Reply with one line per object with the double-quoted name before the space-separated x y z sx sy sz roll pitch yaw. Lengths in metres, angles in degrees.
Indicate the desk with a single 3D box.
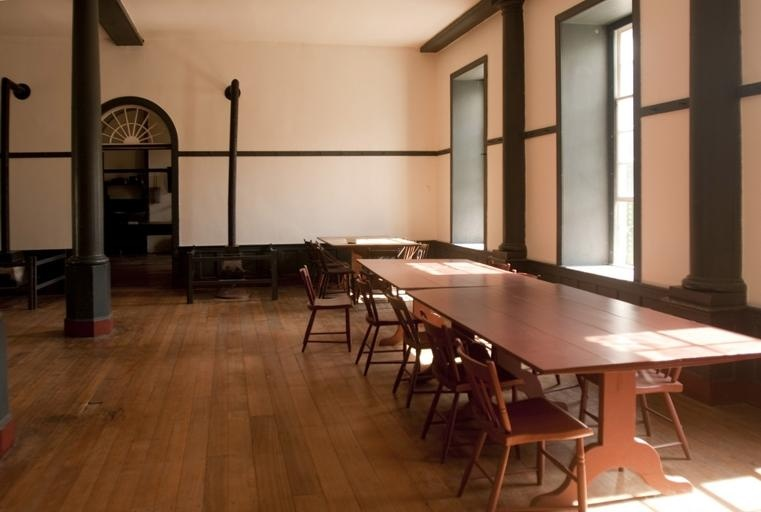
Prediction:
"desk" 1.587 1.082 4.779 1.893 1.194 2.324 -4 12 -22
